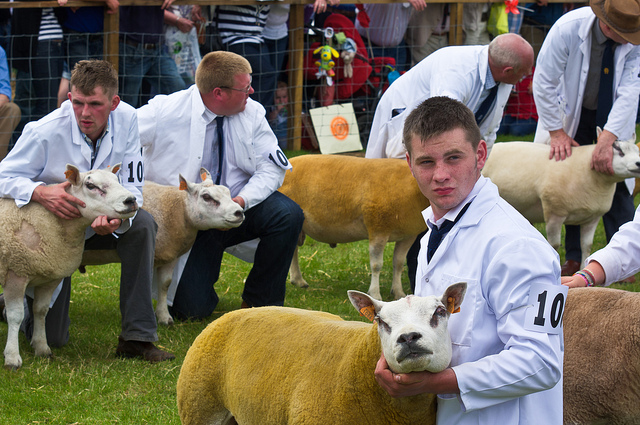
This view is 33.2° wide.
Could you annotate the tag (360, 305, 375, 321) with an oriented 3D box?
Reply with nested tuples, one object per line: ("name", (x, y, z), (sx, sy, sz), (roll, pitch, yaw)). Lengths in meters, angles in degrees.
("tag", (0.400, 0.805, 8.640), (0.101, 0.091, 0.120), (-2, 4, 4))

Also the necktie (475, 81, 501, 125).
("necktie", (1.927, -1.265, 12.329), (0.244, 0.506, 0.142), (6, 9, 9))

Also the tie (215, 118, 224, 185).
("tie", (-1.081, -0.708, 11.856), (0.066, 0.788, 0.086), (-6, -14, 8))

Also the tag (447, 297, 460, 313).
("tag", (1.058, 0.727, 8.499), (0.088, 0.117, 0.111), (0, -6, 5))

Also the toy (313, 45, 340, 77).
("toy", (0.107, -2.176, 15.424), (0.397, 0.505, 0.375), (3, 10, 5))

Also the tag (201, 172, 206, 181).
("tag", (-1.247, -0.402, 11.696), (0.055, 0.065, 0.032), (33, 5, 11))

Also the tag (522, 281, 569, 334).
("tag", (1.758, 0.745, 8.483), (0.367, 0.345, 0.143), (11, -1, -24))

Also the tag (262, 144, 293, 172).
("tag", (-0.466, -0.621, 11.984), (0.216, 0.292, 0.094), (-42, 2, -41))

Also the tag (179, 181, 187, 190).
("tag", (-1.459, -0.288, 11.554), (0.058, 0.077, 0.027), (0, 17, 7))

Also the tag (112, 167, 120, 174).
("tag", (-2.059, -0.434, 10.919), (0.110, 0.062, 0.029), (-22, -35, 27))

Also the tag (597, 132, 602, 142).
("tag", (3.256, -0.880, 12.527), (0.021, 0.088, 0.045), (6, 15, -4))

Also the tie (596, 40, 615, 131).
("tie", (3.350, -1.498, 12.574), (0.160, 1.028, 0.230), (9, 10, 28))

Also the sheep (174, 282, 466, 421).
("sheep", (0.129, 1.125, 9.410), (2.272, 1.652, 1.081), (-2, 1, 21))
